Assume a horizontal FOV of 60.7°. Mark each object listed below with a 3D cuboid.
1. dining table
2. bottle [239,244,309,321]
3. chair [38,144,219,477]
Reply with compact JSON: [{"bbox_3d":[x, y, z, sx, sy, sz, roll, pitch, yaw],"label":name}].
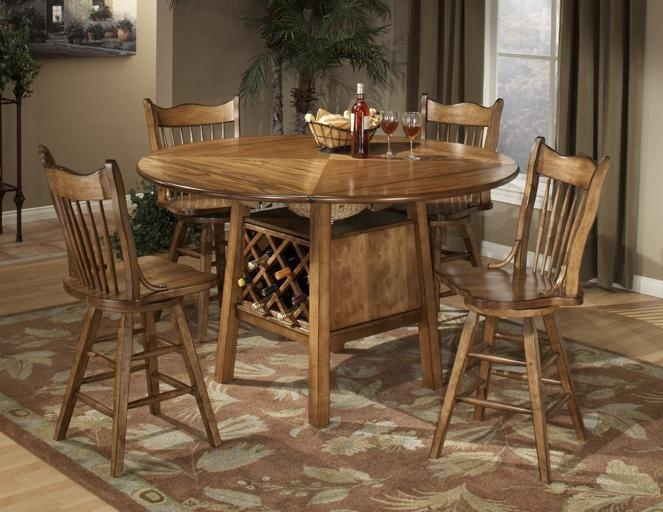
[{"bbox_3d":[0.118,0.102,2.591,1.549,0.801,1.538,-12,21,-40],"label":"dining table"},{"bbox_3d":[-0.242,0.121,2.576,0.325,0.334,0.101,0,-5,2],"label":"bottle"},{"bbox_3d":[-0.773,0.173,2.115,0.628,1.148,0.576,-18,25,-36],"label":"chair"}]
